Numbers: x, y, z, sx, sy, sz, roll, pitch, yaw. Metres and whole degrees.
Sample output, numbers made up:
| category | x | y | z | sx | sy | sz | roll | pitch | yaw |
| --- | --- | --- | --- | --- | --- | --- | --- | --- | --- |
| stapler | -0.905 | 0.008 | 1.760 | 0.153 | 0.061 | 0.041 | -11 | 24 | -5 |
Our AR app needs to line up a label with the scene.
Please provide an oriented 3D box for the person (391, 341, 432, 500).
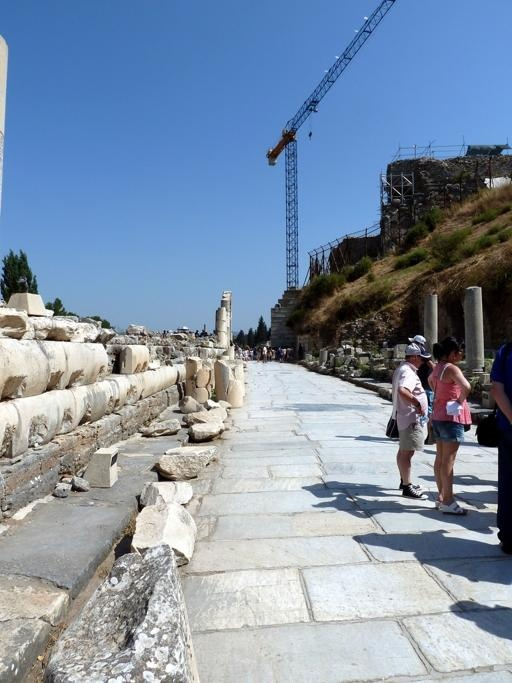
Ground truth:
| category | x | y | z | sx | sy | sz | roll | pitch | yaw |
| --- | --- | --- | --- | --- | --- | --- | --- | --- | --- |
| person | 1.268 | 0.637 | 3.973 | 0.273 | 1.277 | 0.514 | 0 | 0 | 17 |

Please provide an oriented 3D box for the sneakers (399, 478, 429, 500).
| category | x | y | z | sx | sy | sz | roll | pitch | yaw |
| --- | --- | --- | --- | --- | --- | --- | --- | --- | --- |
| sneakers | 1.320 | 1.197 | 3.892 | 0.298 | 0.138 | 0.100 | -9 | -7 | 42 |

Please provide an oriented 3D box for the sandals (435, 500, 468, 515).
| category | x | y | z | sx | sy | sz | roll | pitch | yaw |
| --- | --- | --- | --- | --- | --- | --- | --- | --- | --- |
| sandals | 1.423 | 1.208 | 3.510 | 0.179 | 0.084 | 0.093 | -1 | -5 | 3 |

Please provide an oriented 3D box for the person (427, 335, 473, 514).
| category | x | y | z | sx | sy | sz | roll | pitch | yaw |
| --- | --- | --- | --- | --- | --- | --- | --- | --- | --- |
| person | 1.421 | 0.614 | 3.533 | 0.273 | 1.288 | 0.469 | 0 | 0 | 21 |

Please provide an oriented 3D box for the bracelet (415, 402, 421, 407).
| category | x | y | z | sx | sy | sz | roll | pitch | yaw |
| --- | --- | --- | --- | --- | --- | --- | --- | --- | --- |
| bracelet | 1.260 | 0.491 | 3.736 | 0.030 | 0.031 | 0.031 | -26 | 11 | -40 |
